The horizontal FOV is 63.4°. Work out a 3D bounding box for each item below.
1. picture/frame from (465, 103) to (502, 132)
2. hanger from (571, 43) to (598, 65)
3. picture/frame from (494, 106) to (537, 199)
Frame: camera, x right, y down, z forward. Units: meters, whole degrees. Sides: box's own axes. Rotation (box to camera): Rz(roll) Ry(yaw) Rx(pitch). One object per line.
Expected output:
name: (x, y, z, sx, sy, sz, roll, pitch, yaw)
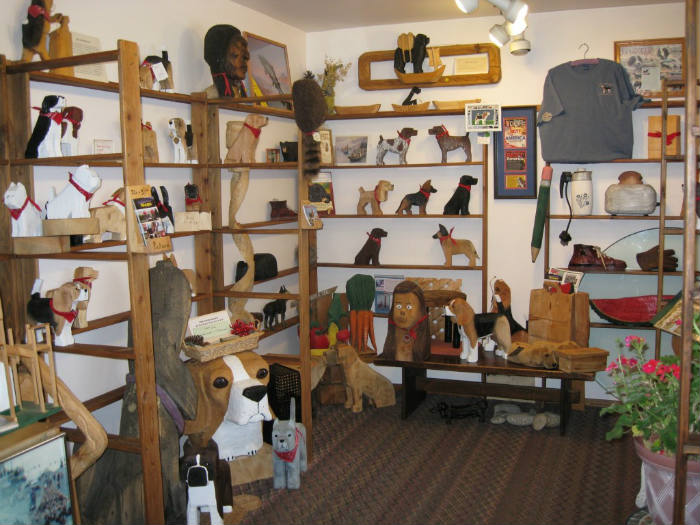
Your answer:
picture/frame: (1.207, -1.316, 5.146, 0.247, 0.202, 0.034, 1, 0, 12)
hanger: (2.076, -1.839, 5.007, 0.236, 0.170, 0.021, 4, 11, 33)
picture/frame: (1.537, -1.012, 5.278, 0.389, 0.838, 0.131, 0, 11, 4)
